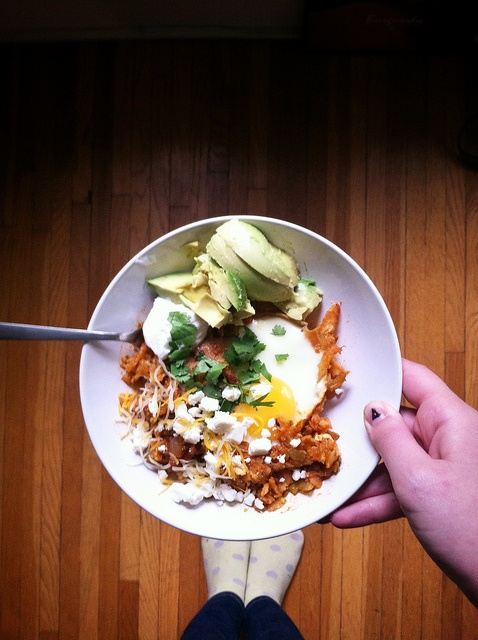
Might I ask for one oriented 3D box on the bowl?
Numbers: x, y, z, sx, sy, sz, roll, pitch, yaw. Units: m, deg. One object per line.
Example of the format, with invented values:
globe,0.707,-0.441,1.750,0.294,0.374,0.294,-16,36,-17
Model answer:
bowl,0.039,0.140,1.771,0.909,0.234,1.003,-1,95,2
